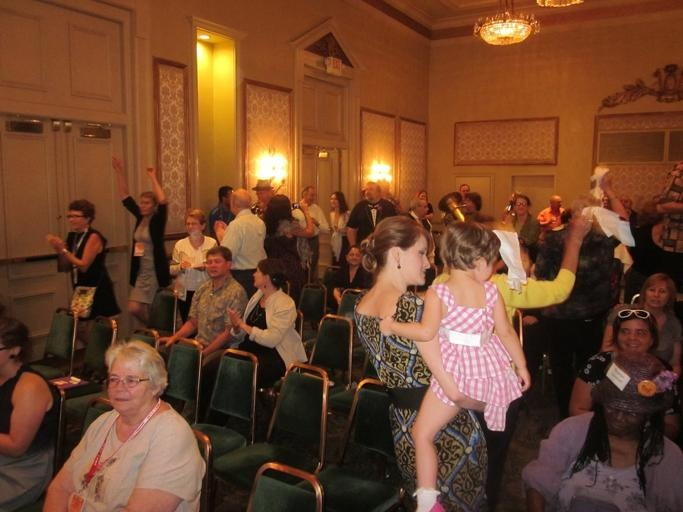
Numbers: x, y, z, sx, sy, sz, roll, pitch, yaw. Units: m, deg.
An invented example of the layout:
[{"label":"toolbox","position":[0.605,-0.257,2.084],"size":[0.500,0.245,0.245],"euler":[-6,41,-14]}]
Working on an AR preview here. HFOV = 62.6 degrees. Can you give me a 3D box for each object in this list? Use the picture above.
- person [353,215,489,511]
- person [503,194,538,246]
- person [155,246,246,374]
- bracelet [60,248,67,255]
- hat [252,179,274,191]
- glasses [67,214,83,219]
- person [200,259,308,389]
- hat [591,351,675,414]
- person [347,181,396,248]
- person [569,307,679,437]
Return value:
[{"label":"person","position":[0.368,0.513,2.631],"size":[0.660,1.370,0.289],"euler":[3,8,17]},{"label":"person","position":[2.836,-0.497,8.894],"size":[0.530,0.878,0.525],"euler":[-2,5,15]},{"label":"person","position":[-1.205,0.444,4.873],"size":[0.655,1.028,0.650],"euler":[5,2,8]},{"label":"bracelet","position":[-2.766,-0.042,5.558],"size":[0.052,0.058,0.016],"euler":[0,7,-16]},{"label":"hat","position":[-1.175,-1.024,8.185],"size":[0.281,0.151,0.365],"euler":[-1,-3,3]},{"label":"glasses","position":[-2.719,-0.415,5.707],"size":[0.128,0.056,0.034],"euler":[2,8,6]},{"label":"person","position":[-0.691,0.639,4.868],"size":[0.657,1.267,0.560],"euler":[-6,27,-13]},{"label":"hat","position":[1.399,0.609,2.663],"size":[0.276,0.165,0.299],"euler":[0,-5,1]},{"label":"person","position":[0.433,-0.543,8.203],"size":[0.710,0.983,0.531],"euler":[-1,23,-11]},{"label":"person","position":[1.679,0.663,3.288],"size":[0.680,0.715,0.423],"euler":[-3,-8,24]}]
